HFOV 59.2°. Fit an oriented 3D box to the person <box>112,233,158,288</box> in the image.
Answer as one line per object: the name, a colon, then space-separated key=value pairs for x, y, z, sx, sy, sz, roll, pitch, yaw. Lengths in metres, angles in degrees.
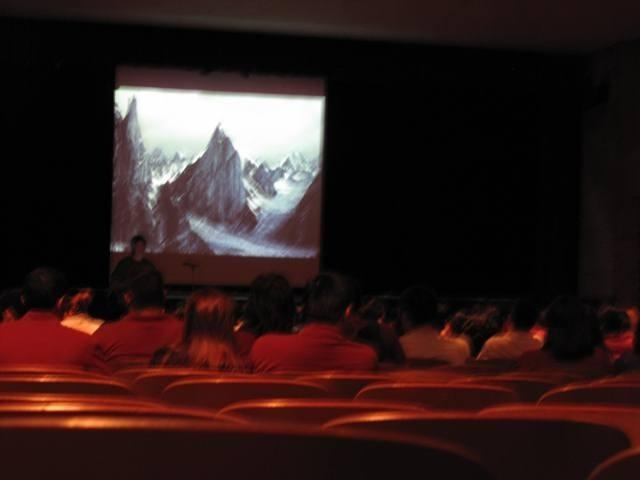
person: x=-1.917 y=0.195 z=5.750 sx=0.406 sy=0.784 sz=0.219 roll=7 pitch=-28 yaw=-22
